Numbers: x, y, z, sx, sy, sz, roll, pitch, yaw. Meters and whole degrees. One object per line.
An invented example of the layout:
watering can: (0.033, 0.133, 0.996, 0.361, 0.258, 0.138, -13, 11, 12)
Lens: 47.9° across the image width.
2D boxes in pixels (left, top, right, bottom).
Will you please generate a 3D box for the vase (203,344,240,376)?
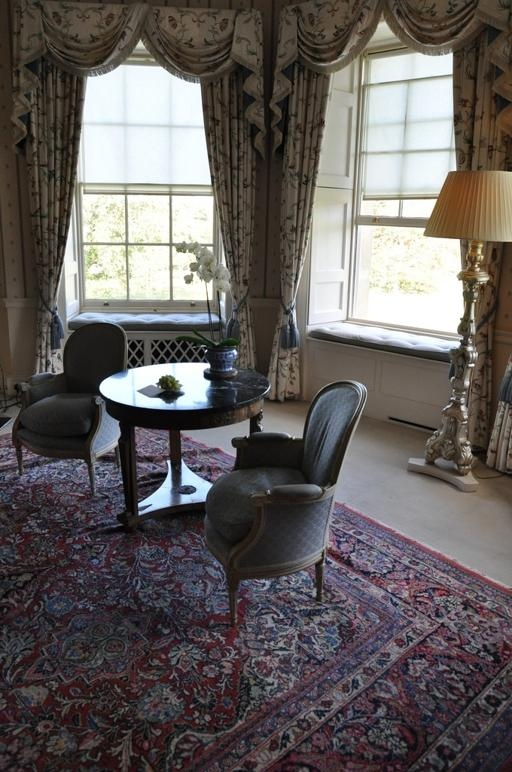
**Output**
vase: (-0.161, -0.112, 2.721, 0.138, 0.123, 0.142, 13, 21, 34)

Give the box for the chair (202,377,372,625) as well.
chair: (0.057, 0.326, 2.221, 0.729, 0.960, 0.701, -1, 16, -9)

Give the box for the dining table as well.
dining table: (-0.368, 0.233, 2.622, 0.705, 0.591, 0.735, -17, 25, -42)
